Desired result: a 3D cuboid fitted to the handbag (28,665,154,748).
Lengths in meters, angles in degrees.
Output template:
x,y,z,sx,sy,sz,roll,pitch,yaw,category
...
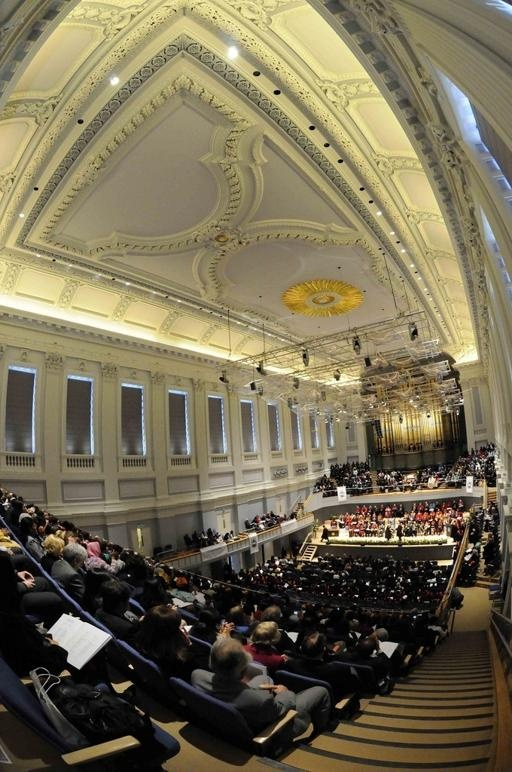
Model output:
x,y,z,sx,sy,sz,roll,pitch,yaw,category
-0.804,1.560,2.407,0.543,0.446,0.375,-3,-11,-15,handbag
